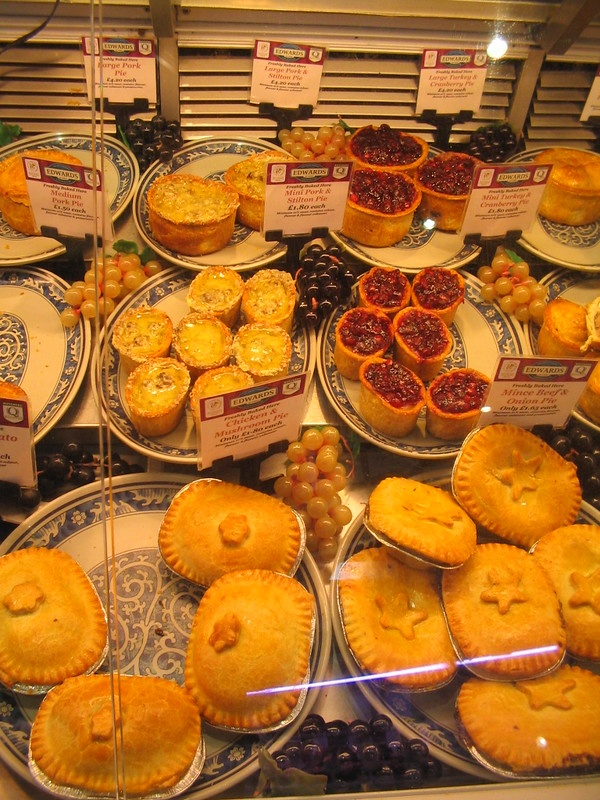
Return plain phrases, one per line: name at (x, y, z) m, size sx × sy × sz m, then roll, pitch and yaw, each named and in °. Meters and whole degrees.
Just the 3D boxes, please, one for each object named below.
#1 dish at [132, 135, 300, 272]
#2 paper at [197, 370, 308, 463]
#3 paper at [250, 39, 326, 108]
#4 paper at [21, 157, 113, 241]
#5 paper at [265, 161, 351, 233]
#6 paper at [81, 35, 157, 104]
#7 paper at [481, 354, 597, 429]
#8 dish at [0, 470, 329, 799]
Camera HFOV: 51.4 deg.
dish at (-0.349, -0.727, 2.387) m, size 0.612 × 0.081 × 0.599 m, roll 19°, pitch 54°, yaw 7°
paper at (-0.122, 0.053, 1.608) m, size 0.299 × 0.274 × 0.046 m, roll -13°, pitch 55°, yaw -16°
paper at (-0.045, -1.167, 2.215) m, size 0.217 × 0.197 × 0.027 m, roll 3°, pitch 47°, yaw -11°
paper at (-0.712, -0.594, 1.880) m, size 0.243 × 0.254 × 0.113 m, roll 12°, pitch 32°, yaw 5°
paper at (0.018, -0.644, 1.963) m, size 0.345 × 0.321 × 0.043 m, roll -5°, pitch 54°, yaw -6°
paper at (-0.631, -1.148, 2.190) m, size 0.254 × 0.232 × 0.202 m, roll 0°, pitch 33°, yaw -14°
paper at (0.643, -0.018, 1.670) m, size 0.309 × 0.289 × 0.012 m, roll -1°, pitch 45°, yaw -3°
dish at (-0.324, 0.499, 1.478) m, size 0.786 × 0.239 × 0.746 m, roll 2°, pitch 32°, yaw -11°
